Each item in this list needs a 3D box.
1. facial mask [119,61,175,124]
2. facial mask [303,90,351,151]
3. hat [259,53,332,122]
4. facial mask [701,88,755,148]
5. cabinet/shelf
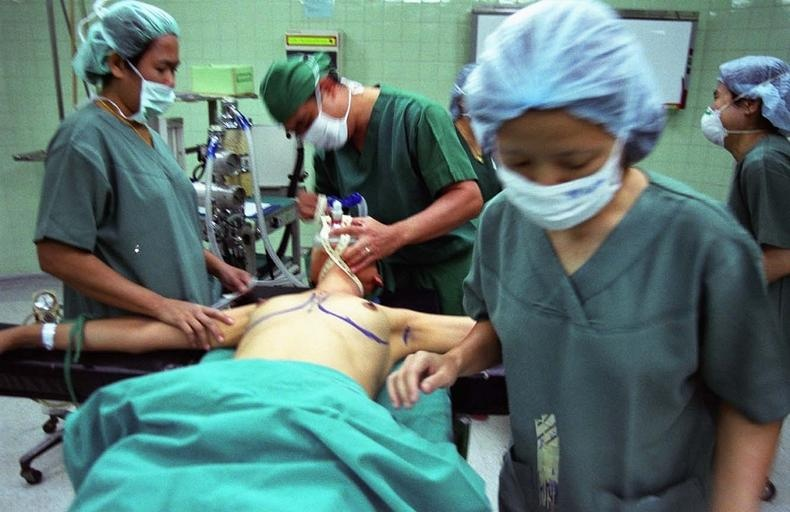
[{"bbox_3d":[-1.046,-0.706,2.679,0.223,0.167,0.194,13,6,-15],"label":"facial mask"},{"bbox_3d":[-0.283,-0.603,2.864,0.216,0.253,0.168,2,-6,33],"label":"facial mask"},{"bbox_3d":[-0.434,-0.767,2.777,0.317,0.332,0.169,0,9,-11],"label":"hat"},{"bbox_3d":[1.757,-0.757,3.317,0.273,0.214,0.249,-1,15,26],"label":"facial mask"},{"bbox_3d":[-0.817,-0.086,3.460,0.377,0.463,0.657,-6,3,7],"label":"cabinet/shelf"}]
